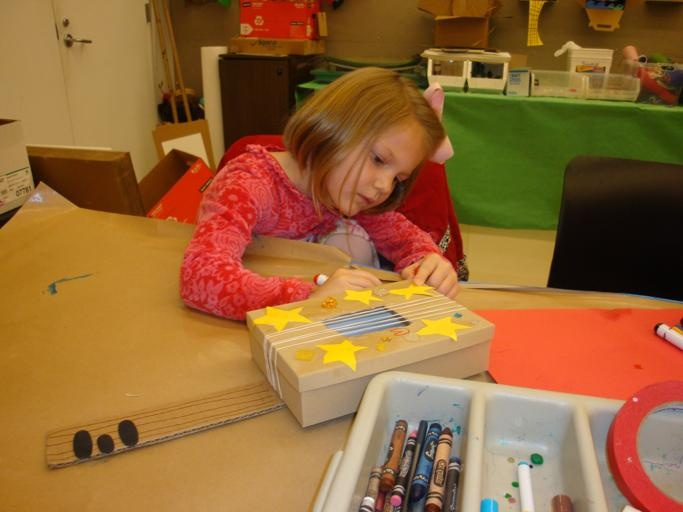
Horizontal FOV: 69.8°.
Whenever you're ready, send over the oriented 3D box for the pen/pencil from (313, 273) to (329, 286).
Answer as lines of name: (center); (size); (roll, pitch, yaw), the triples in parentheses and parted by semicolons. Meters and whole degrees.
pen/pencil: (-0.041, 0.053, 0.998); (0.021, 0.023, 0.024); (9, 57, -39)
